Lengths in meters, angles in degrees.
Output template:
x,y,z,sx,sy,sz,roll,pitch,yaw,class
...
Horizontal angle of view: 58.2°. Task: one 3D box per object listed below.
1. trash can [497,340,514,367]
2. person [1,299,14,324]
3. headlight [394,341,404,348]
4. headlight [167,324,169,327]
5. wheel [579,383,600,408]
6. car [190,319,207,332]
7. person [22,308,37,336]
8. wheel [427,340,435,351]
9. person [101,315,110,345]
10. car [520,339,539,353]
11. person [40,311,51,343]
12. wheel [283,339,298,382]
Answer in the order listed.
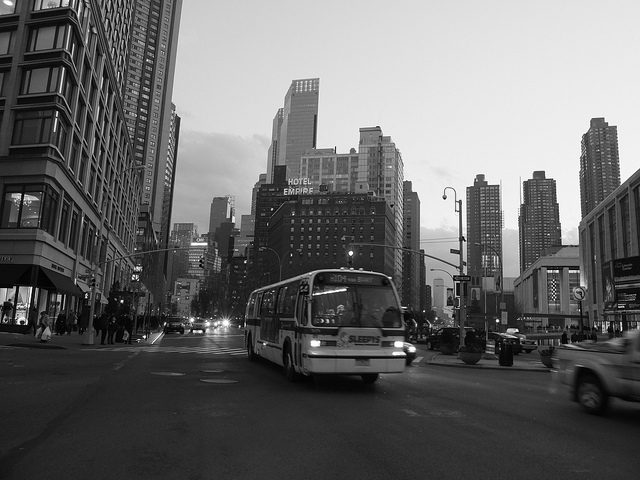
x,y,z,sx,sy,sz,roll,pitch,yaw,class
8.340,5.201,25.912,0.571,1.014,1.231,-3,-12,17,trash can
-19.803,4.502,36.488,0.572,1.506,1.190,6,-12,-29,person
2.135,2.856,15.739,0.173,0.176,0.044,6,-11,4,headlight
-14.946,8.428,56.590,0.124,0.266,0.353,4,-12,-16,headlight
6.119,3.539,13.106,0.082,0.534,0.508,5,-12,-22,wheel
-14.191,9.752,66.624,1.407,1.380,2.945,2,-14,-14,car
-16.982,4.781,34.046,1.035,1.538,0.439,-2,3,7,person
7.978,7.640,41.594,0.273,0.855,0.820,1,-20,-11,wheel
-12.125,5.115,32.475,0.339,1.600,2.789,4,-12,-20,person
14.779,7.490,40.776,0.903,0.961,4.853,-4,-13,23,car
-13.851,4.360,29.087,0.403,1.673,2.435,5,-12,-24,person
-0.927,3.512,17.408,0.307,1.050,1.027,-6,-21,9,wheel
